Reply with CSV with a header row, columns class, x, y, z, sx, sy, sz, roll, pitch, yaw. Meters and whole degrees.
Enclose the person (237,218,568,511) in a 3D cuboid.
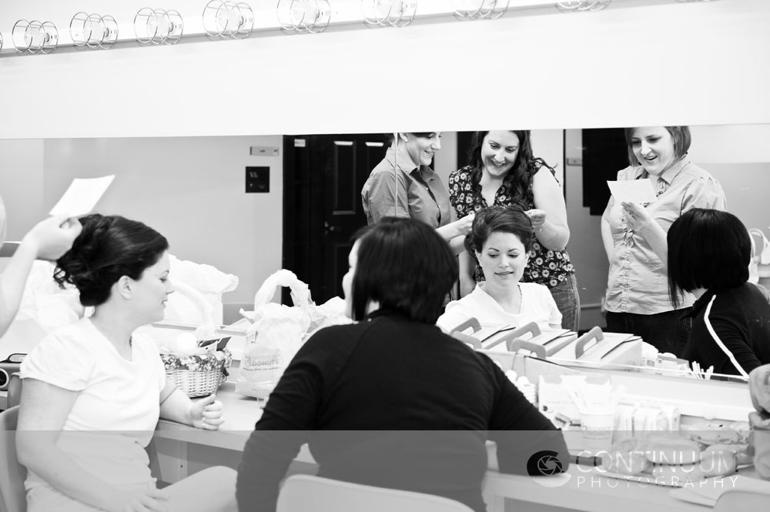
class,x,y,z,sx,sy,sz,roll,pitch,yaw
person,-0.052,0.281,1.715,0.614,0.757,0.226,1,2,16
